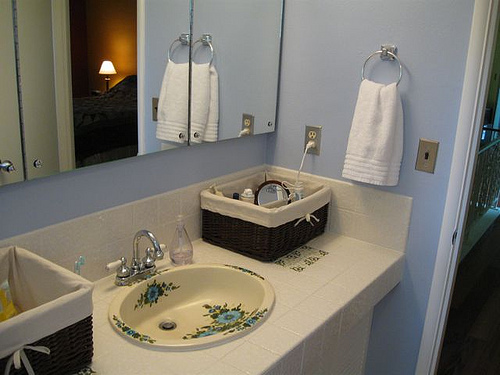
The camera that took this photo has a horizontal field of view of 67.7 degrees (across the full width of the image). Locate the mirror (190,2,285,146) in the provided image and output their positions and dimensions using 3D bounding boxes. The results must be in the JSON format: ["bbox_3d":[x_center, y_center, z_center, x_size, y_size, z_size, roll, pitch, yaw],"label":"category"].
[{"bbox_3d":[-0.074,-0.556,1.757,0.607,0.898,0.014,-12,27,-38],"label":"mirror"}]

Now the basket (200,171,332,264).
[{"bbox_3d":[0.069,0.121,1.912,0.439,0.257,0.569,-19,20,-38],"label":"basket"}]

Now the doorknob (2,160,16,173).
[{"bbox_3d":[-0.735,-0.064,1.139,0.031,0.023,0.016,51,43,2],"label":"doorknob"}]

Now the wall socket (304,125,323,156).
[{"bbox_3d":[0.326,-0.249,1.923,0.108,0.193,0.036,15,23,39],"label":"wall socket"}]

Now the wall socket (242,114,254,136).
[{"bbox_3d":[-0.016,-0.322,1.890,0.010,0.143,0.072,22,31,37],"label":"wall socket"}]
